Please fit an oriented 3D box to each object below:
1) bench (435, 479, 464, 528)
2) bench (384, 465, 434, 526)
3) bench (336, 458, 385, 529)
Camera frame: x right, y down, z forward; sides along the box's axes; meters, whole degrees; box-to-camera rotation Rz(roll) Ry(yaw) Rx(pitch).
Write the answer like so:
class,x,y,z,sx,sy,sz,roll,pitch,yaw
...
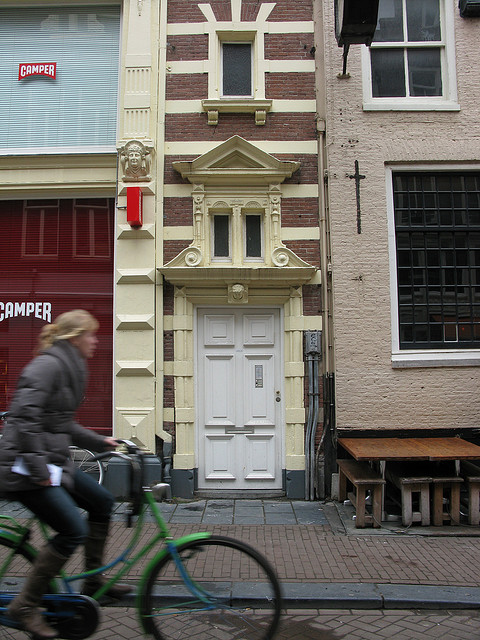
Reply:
class,x,y,z,sx,sy,sz,roll,pitch,yaw
bench,2.152,1.917,8.838,0.392,0.475,0.374,2,-12,8
bench,1.830,1.883,9.033,0.478,0.567,0.792,-1,-7,10
bench,1.303,1.868,9.173,0.327,0.461,1.351,1,0,-1
